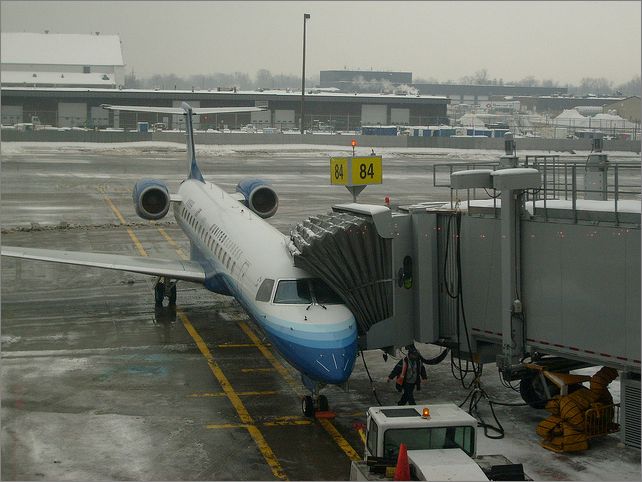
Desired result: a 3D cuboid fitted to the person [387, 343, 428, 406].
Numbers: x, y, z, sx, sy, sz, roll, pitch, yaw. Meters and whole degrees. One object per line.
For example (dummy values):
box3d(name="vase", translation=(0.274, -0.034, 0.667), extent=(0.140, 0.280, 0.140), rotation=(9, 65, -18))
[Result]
box3d(name="person", translation=(2.271, 3.525, 20.857), extent=(0.879, 1.655, 0.847), rotation=(1, 15, -3))
